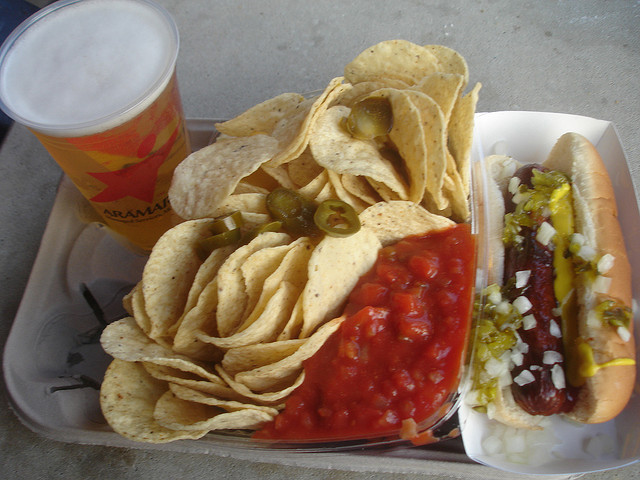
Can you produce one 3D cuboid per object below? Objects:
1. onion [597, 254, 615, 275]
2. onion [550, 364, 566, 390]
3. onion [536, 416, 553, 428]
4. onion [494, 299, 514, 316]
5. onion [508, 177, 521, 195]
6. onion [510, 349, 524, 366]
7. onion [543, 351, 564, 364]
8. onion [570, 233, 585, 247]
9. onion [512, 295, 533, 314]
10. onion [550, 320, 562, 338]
[{"bbox_3d":[0.818,0.068,1.804,0.058,0.016,0.047,9,83,2],"label":"onion"},{"bbox_3d":[0.657,0.378,1.741,0.064,0.017,0.055,1,75,-25],"label":"onion"},{"bbox_3d":[0.635,0.516,1.778,0.040,0.018,0.037,30,91,4],"label":"onion"},{"bbox_3d":[0.511,0.192,1.765,0.044,0.015,0.045,24,66,11],"label":"onion"},{"bbox_3d":[0.587,-0.166,1.914,0.017,0.051,0.047,31,99,-16],"label":"onion"},{"bbox_3d":[0.551,0.331,1.768,0.057,0.013,0.032,0,85,-17],"label":"onion"},{"bbox_3d":[0.648,0.328,1.755,0.059,0.021,0.035,1,65,1],"label":"onion"},{"bbox_3d":[0.749,-0.002,1.846,0.050,0.017,0.033,-2,76,-9],"label":"onion"},{"bbox_3d":[0.569,0.182,1.776,0.069,0.016,0.040,-11,80,11],"label":"onion"},{"bbox_3d":[0.660,0.252,1.774,0.044,0.011,0.039,-9,86,-29],"label":"onion"}]
